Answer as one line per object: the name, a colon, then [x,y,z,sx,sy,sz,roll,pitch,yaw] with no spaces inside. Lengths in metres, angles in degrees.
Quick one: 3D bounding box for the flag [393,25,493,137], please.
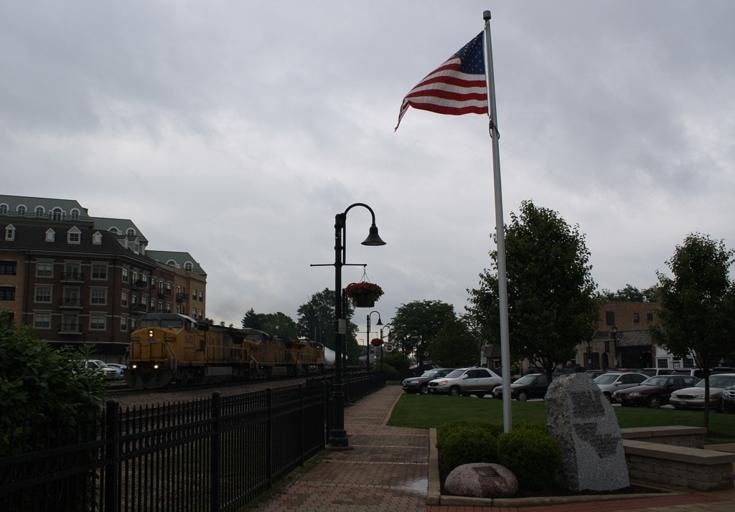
flag: [1.651,-3.811,15.072,1.779,0.239,2.232,5,-47,11]
